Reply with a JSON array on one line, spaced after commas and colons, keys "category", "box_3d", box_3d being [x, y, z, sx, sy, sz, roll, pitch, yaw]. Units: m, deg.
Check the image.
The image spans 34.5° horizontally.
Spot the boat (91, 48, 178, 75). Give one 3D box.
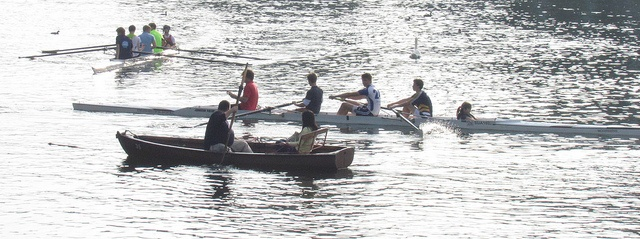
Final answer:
[{"category": "boat", "box_3d": [-15.527, -5.345, 95.381, 11.174, 0.925, 2.254, -7, 15, -26]}]

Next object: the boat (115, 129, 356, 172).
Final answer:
[{"category": "boat", "box_3d": [-6.654, 2.567, 80.712, 18.626, 2.510, 1.500, 2, 9, 2]}]
